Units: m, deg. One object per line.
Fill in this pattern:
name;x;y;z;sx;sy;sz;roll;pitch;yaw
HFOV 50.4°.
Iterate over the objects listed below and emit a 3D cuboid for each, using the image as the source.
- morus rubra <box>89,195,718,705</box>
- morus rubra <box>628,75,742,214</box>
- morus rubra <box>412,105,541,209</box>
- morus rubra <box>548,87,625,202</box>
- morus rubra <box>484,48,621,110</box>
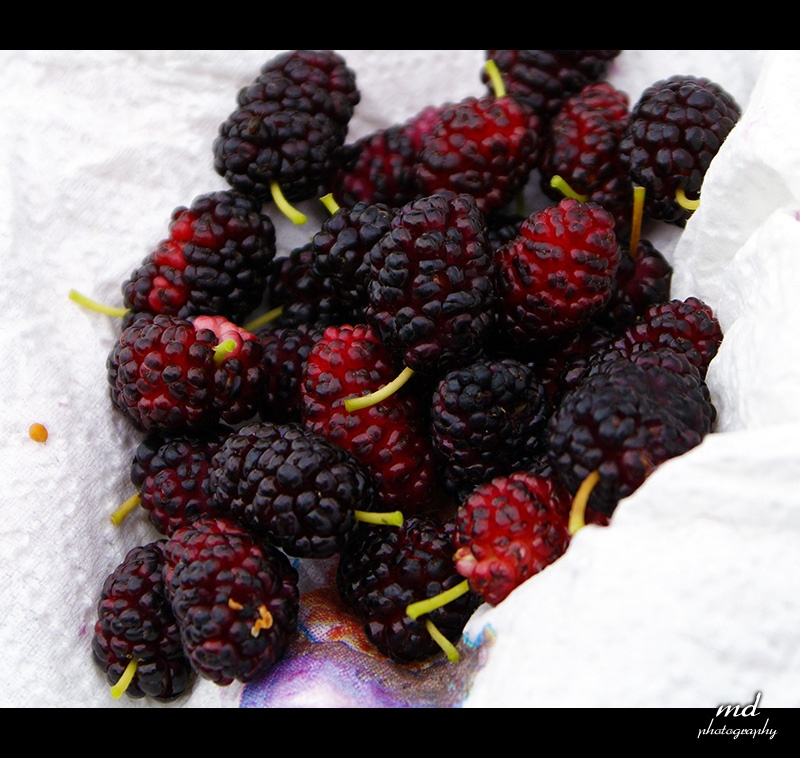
morus rubra;-0.001;0.042;0.917;0.698;0.368;0.500;-6;54;0
morus rubra;0.318;-0.267;0.983;0.114;0.130;0.156;16;58;16
morus rubra;0.083;-0.270;1.026;0.115;0.100;0.145;17;30;32
morus rubra;0.220;-0.282;1.002;0.070;0.146;0.083;-42;92;16
morus rubra;0.177;-0.373;1.074;0.167;0.073;0.052;14;72;3
